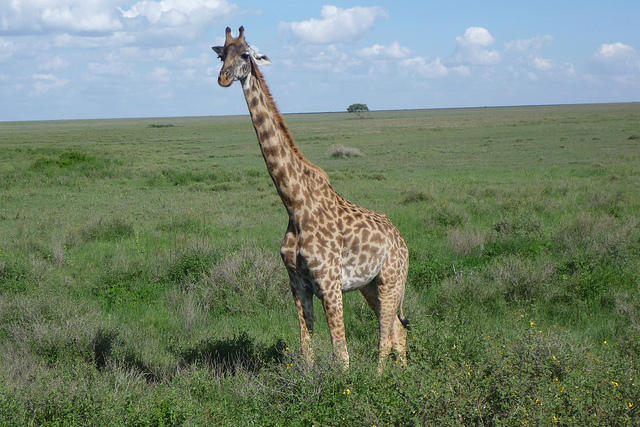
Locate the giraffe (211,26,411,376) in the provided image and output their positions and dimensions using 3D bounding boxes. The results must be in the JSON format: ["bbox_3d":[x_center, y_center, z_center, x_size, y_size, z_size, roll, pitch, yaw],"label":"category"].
[{"bbox_3d":[0.006,-0.171,8.741,2.721,5.839,1.221,-3,11,9],"label":"giraffe"}]
